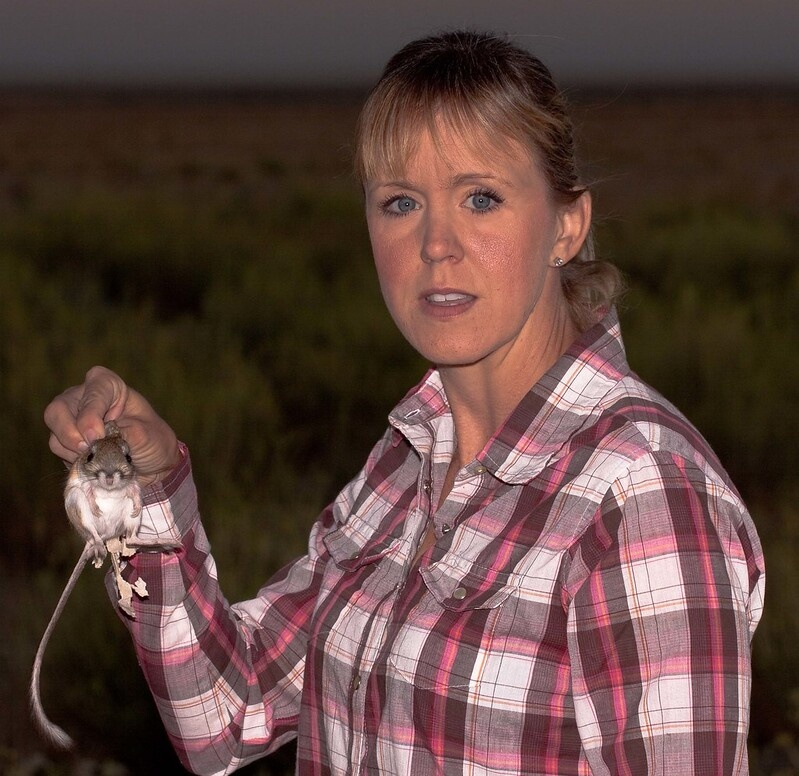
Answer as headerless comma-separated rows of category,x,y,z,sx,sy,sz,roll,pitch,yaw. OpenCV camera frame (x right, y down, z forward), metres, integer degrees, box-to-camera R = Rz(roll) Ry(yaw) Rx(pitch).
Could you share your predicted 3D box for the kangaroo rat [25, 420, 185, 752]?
kangaroo rat,-0.723,0.482,2.626,0.388,0.814,0.349,-6,11,-8
